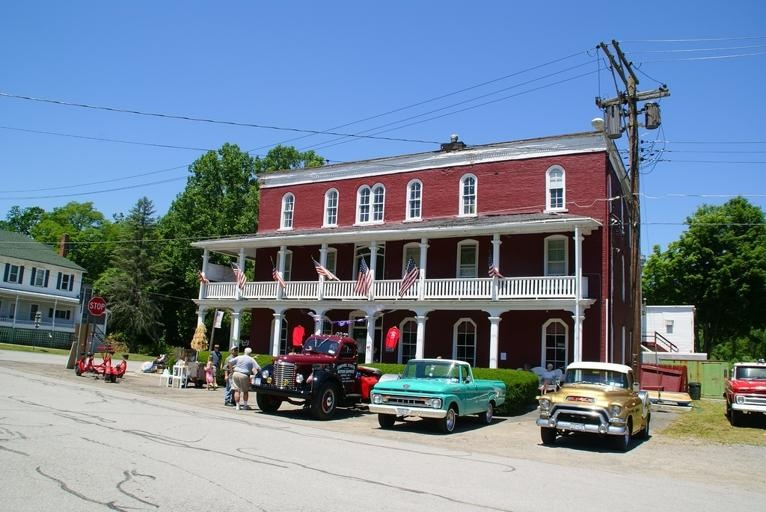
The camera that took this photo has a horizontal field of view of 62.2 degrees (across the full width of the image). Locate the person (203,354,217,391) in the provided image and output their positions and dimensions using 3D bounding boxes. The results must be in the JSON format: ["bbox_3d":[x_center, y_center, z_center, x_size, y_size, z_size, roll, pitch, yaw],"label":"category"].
[{"bbox_3d":[-7.898,5.298,29.180,0.555,1.596,1.559,6,-12,-15],"label":"person"}]

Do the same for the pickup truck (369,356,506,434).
[{"bbox_3d":[1.920,4.699,21.643,4.542,2.373,2.220,12,-15,-42],"label":"pickup truck"}]

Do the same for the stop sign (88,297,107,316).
[{"bbox_3d":[-13.380,2.297,29.687,0.691,0.899,1.450,8,-12,-23],"label":"stop sign"}]

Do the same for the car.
[{"bbox_3d":[6.605,4.524,19.421,3.585,2.564,2.179,11,-14,-36],"label":"car"}]

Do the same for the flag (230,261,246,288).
[{"bbox_3d":[-8.332,1.280,36.861,0.607,1.398,1.691,7,-12,-18],"label":"flag"}]

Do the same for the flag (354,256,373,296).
[{"bbox_3d":[-0.928,1.068,32.038,0.852,1.739,1.055,3,-11,-3],"label":"flag"}]

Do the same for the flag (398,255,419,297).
[{"bbox_3d":[1.309,1.043,31.835,0.299,0.967,2.362,26,-54,0],"label":"flag"}]
